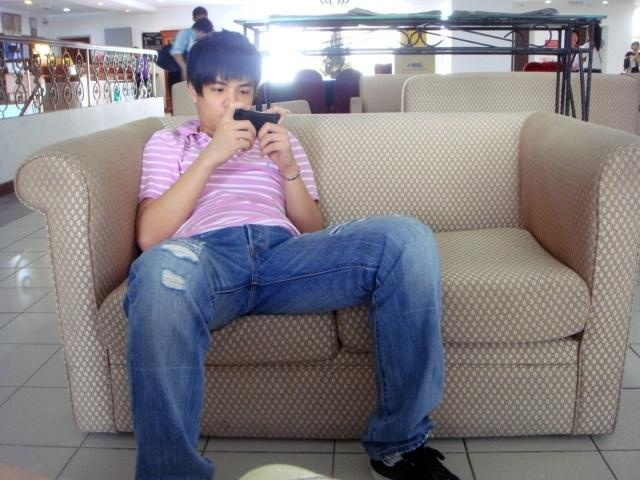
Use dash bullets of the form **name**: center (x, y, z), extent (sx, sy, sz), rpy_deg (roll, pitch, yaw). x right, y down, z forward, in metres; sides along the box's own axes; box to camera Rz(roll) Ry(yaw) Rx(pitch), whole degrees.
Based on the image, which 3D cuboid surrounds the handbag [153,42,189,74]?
- **handbag**: center (-1.644, -1.915, 5.704), extent (0.362, 0.515, 0.188), rpy_deg (-2, 10, -21)
